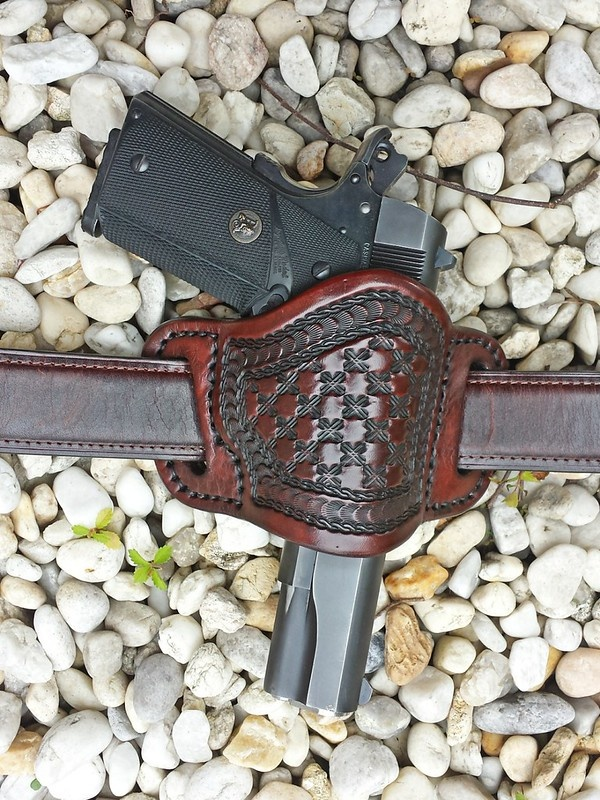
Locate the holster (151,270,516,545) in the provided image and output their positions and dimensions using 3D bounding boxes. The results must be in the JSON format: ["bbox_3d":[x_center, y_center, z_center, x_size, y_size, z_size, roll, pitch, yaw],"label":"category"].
[{"bbox_3d":[-0.006,0.050,1.864,0.721,0.331,0.626,-1,78,1],"label":"holster"}]
